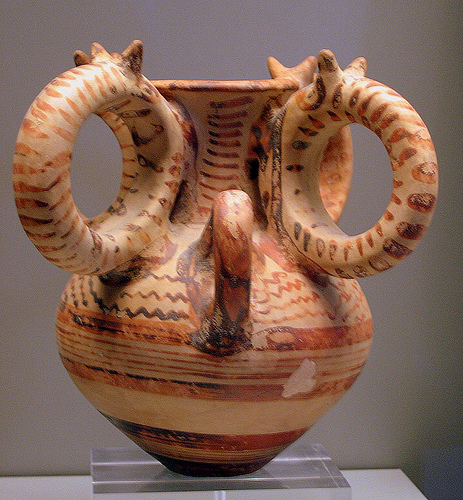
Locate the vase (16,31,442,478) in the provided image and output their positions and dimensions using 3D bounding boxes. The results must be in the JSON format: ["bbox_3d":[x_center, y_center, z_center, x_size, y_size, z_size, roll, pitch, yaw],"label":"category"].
[{"bbox_3d":[-0.031,0.034,1.327,0.556,0.661,0.292,0,11,-12],"label":"vase"}]
